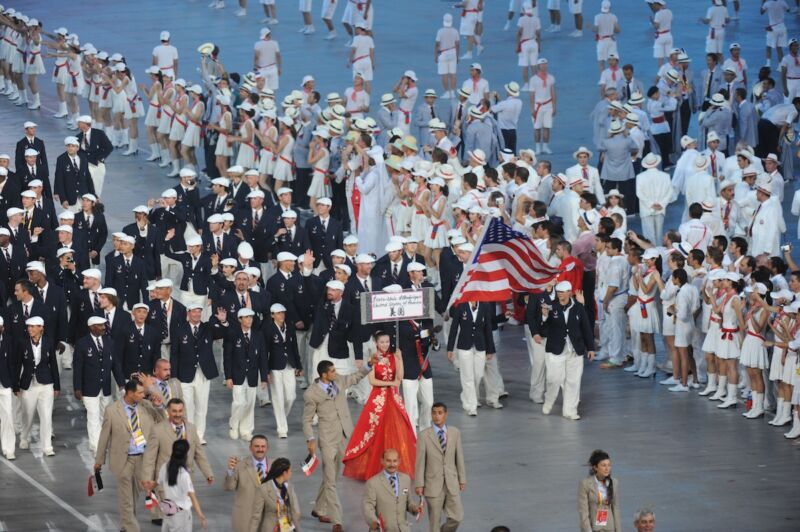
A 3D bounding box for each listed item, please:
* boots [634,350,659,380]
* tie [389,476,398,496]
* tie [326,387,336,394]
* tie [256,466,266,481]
[{"bbox_3d":[5.211,2.098,42.053,0.549,0.516,0.559,-4,9,-22],"label":"boots"},{"bbox_3d":[-0.116,4.017,36.006,0.222,0.336,0.088,-3,6,30],"label":"tie"},{"bbox_3d":[-1.324,2.378,37.814,0.126,0.149,0.048,-7,-4,-18],"label":"tie"},{"bbox_3d":[-2.548,3.815,36.183,0.196,0.069,0.256,7,-30,-14],"label":"tie"}]
